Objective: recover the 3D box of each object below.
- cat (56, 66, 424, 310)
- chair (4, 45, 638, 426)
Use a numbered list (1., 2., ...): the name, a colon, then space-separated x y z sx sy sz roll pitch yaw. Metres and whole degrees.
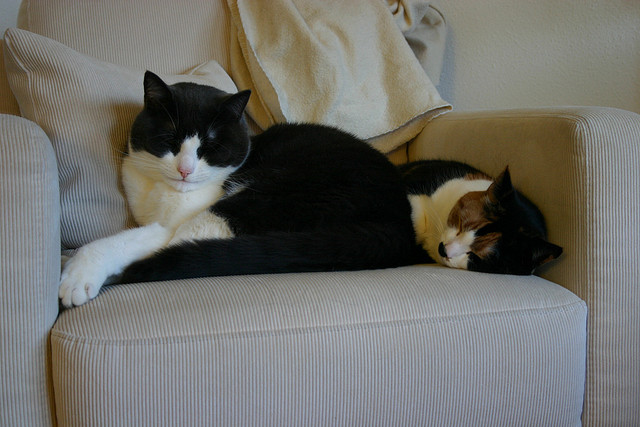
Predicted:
1. cat: -0.207 -0.015 2.091 1.077 0.665 0.728 7 -13 -37
2. chair: 0.039 0.085 1.794 1.626 0.754 0.675 6 25 -1
